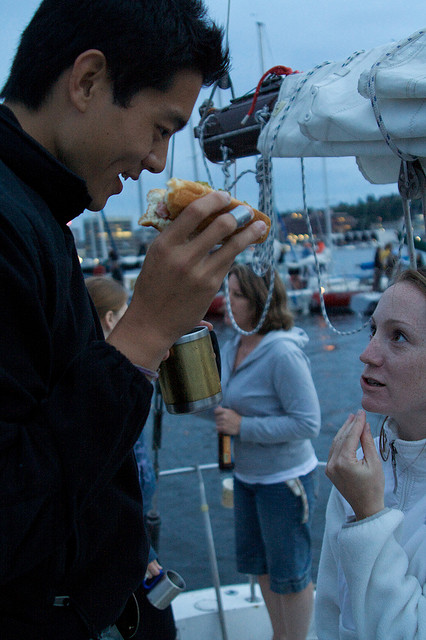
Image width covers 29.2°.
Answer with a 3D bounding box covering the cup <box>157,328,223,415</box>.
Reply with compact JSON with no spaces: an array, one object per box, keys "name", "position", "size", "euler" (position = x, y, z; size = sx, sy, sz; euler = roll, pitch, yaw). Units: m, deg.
[{"name":"cup","position":[-0.026,0.150,2.293],"size":[0.163,0.225,0.257],"euler":[-14,6,12]}]
